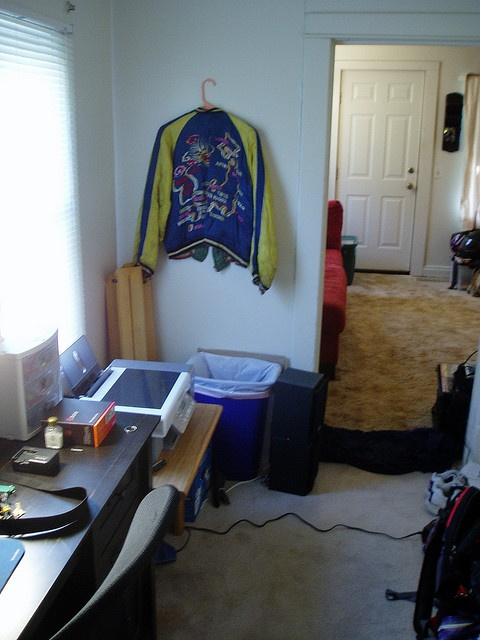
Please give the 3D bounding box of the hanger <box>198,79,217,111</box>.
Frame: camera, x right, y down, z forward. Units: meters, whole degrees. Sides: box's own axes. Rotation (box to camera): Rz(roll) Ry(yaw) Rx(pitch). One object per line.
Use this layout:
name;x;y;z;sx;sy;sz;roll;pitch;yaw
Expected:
hanger;-0.134;-0.942;2.241;0.063;0.132;0.045;2;13;5

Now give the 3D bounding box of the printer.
printer;-0.363;0.255;1.787;0.372;0.329;0.414;2;19;3

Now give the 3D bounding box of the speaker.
speaker;0.241;0.477;2.290;0.255;0.621;0.282;5;25;12

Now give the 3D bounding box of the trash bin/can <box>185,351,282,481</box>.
trash bin/can;-0.037;0.493;2.439;0.405;0.446;0.344;1;1;3

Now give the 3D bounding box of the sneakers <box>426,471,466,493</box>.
sneakers;0.849;0.659;2.192;0.126;0.057;0.074;-21;20;28
